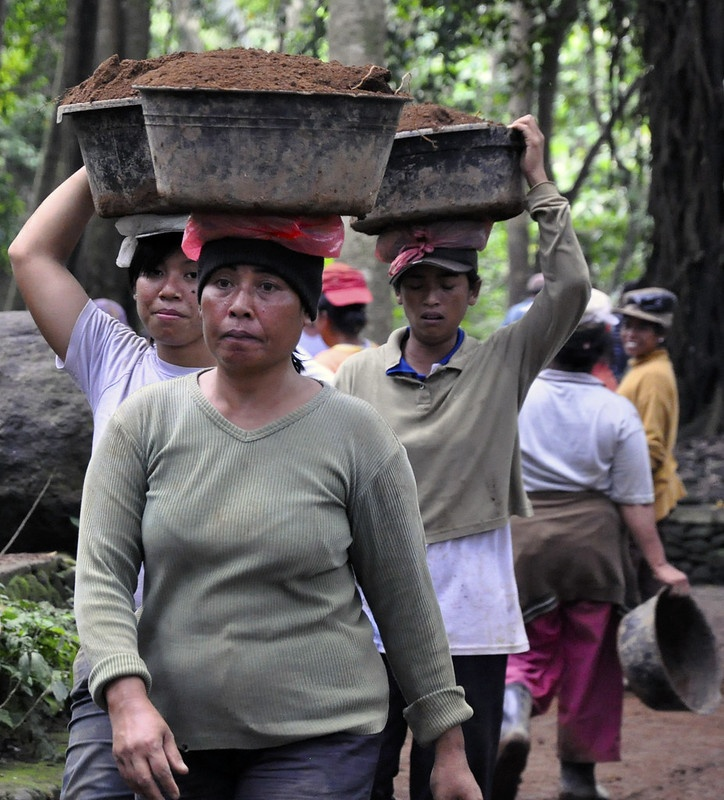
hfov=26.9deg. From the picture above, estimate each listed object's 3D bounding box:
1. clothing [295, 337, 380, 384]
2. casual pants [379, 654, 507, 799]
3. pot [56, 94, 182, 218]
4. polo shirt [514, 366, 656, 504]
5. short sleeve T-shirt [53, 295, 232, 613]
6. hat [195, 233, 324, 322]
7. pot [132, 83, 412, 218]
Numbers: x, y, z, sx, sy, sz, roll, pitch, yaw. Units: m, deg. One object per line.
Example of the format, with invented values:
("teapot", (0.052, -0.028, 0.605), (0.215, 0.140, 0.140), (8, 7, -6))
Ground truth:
("clothing", (-0.118, -0.167, 6.331), (0.252, 0.125, 0.312), (0, 1, -13))
("casual pants", (0.289, 1.009, 4.719), (0.486, 0.426, 0.802), (0, -9, 1))
("pot", (-0.539, -0.649, 3.962), (0.400, 0.287, 0.435), (-4, 7, 1))
("polo shirt", (0.873, 0.168, 5.984), (0.740, 0.533, 0.364), (1, 2, 45))
("short sleeve T-shirt", (-0.553, 0.252, 4.207), (0.305, 0.897, 0.546), (-25, 31, -29))
("hat", (-0.285, -0.331, 3.635), (0.276, 0.178, 0.313), (-12, 14, -38))
("pot", (-0.202, -0.607, 3.685), (0.707, 0.294, 0.651), (2, 9, 0))
